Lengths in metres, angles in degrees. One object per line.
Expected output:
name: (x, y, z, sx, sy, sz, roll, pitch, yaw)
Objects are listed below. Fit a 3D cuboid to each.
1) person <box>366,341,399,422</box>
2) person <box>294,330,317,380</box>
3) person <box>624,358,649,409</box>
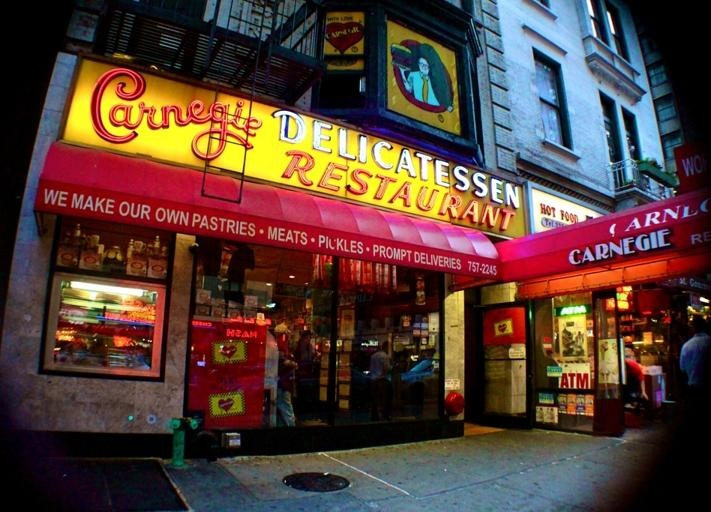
person: (0.512, 2.435, 11.685, 0.536, 1.409, 0.481, 2, 6, -19)
person: (-0.921, 1.824, 11.044, 0.404, 0.848, 0.226, 2, 6, -17)
person: (6.647, 3.007, 14.214, 0.655, 1.111, 0.415, 6, 6, 15)
